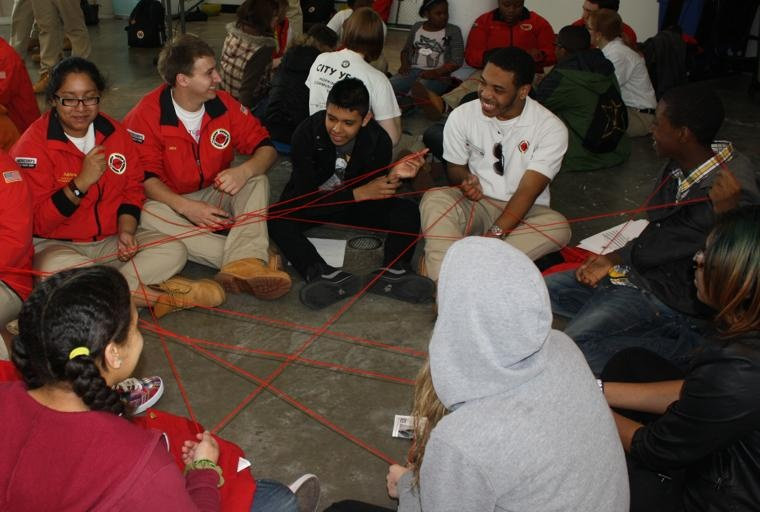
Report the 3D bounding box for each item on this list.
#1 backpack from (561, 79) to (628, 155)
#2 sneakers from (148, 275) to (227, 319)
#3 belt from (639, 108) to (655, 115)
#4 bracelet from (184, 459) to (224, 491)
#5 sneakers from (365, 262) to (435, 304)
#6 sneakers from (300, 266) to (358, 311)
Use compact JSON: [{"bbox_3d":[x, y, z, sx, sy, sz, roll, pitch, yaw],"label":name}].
[{"bbox_3d":[1.859,-1.153,4.730,0.544,0.567,0.240,-12,33,-34],"label":"backpack"},{"bbox_3d":[-1.035,0.217,3.058,0.483,0.143,0.191,-4,3,-2],"label":"sneakers"},{"bbox_3d":[2.536,-1.375,5.382,0.099,0.035,0.095,1,4,-44],"label":"belt"},{"bbox_3d":[-0.522,0.639,1.690,0.104,0.034,0.099,0,-12,10],"label":"bracelet"},{"bbox_3d":[0.129,0.153,3.314,0.468,0.147,0.185,10,16,7],"label":"sneakers"},{"bbox_3d":[-0.280,0.175,3.260,0.411,0.144,0.258,-13,19,-23],"label":"sneakers"}]
